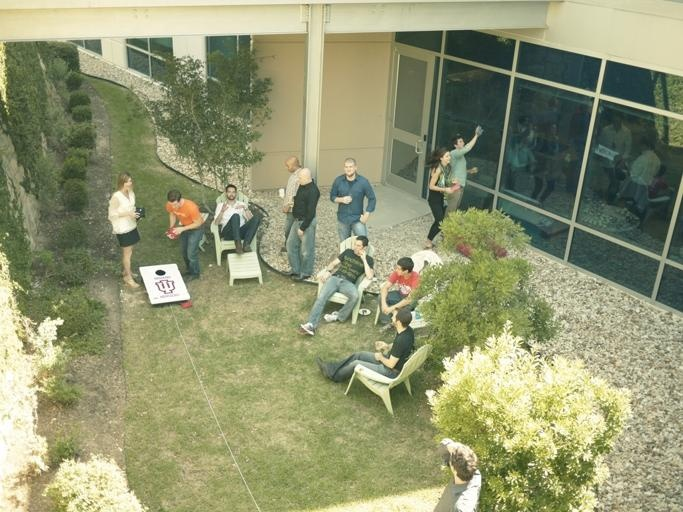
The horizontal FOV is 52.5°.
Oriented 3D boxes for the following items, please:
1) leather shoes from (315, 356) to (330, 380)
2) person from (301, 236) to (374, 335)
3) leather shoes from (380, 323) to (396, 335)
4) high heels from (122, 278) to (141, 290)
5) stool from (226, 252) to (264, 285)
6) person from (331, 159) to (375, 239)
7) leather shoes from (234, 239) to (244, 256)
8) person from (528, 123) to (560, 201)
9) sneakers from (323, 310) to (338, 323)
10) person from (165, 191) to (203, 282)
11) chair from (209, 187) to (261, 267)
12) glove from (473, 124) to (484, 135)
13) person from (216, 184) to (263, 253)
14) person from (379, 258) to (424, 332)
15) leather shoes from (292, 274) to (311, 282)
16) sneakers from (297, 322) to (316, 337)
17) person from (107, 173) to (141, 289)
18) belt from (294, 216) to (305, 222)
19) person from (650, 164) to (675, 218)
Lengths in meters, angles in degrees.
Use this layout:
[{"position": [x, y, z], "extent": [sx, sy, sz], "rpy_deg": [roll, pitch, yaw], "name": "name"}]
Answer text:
[{"position": [-0.287, 1.643, 10.287], "extent": [0.105, 0.358, 0.140], "rpy_deg": [-17, -10, 19], "name": "leather shoes"}, {"position": [-0.110, 0.441, 11.126], "extent": [0.842, 1.163, 1.872], "rpy_deg": [20, 33, 19], "name": "person"}, {"position": [0.745, 1.164, 11.248], "extent": [0.096, 0.132, 0.290], "rpy_deg": [4, 14, 42], "name": "leather shoes"}, {"position": [-3.605, 0.464, 11.820], "extent": [0.272, 0.117, 0.164], "rpy_deg": [22, 47, 24], "name": "high heels"}, {"position": [-1.717, 0.193, 12.287], "extent": [0.603, 0.419, 0.672], "rpy_deg": [-3, 31, -10], "name": "stool"}, {"position": [0.177, -0.938, 12.538], "extent": [0.790, 1.657, 0.776], "rpy_deg": [7, 30, 7], "name": "person"}, {"position": [-1.819, -0.166, 12.223], "extent": [0.092, 0.119, 0.271], "rpy_deg": [-9, 25, -18], "name": "leather shoes"}, {"position": [3.872, -1.772, 13.153], "extent": [0.222, 1.486, 0.650], "rpy_deg": [-14, 34, -27], "name": "person"}, {"position": [-0.176, 0.999, 11.399], "extent": [0.140, 0.106, 0.229], "rpy_deg": [-6, 0, -27], "name": "sneakers"}, {"position": [-2.694, -0.438, 11.971], "extent": [0.596, 1.642, 0.603], "rpy_deg": [-4, 30, -12], "name": "person"}, {"position": [-1.981, -0.483, 12.686], "extent": [0.998, 1.432, 0.998], "rpy_deg": [-10, 45, -14], "name": "chair"}, {"position": [2.775, -2.539, 14.005], "extent": [0.192, 0.193, 0.140], "rpy_deg": [-40, 81, -23], "name": "glove"}, {"position": [-1.931, -0.733, 12.476], "extent": [0.775, 1.114, 1.097], "rpy_deg": [-6, 31, -14], "name": "person"}, {"position": [0.944, 0.625, 10.700], "extent": [0.550, 0.963, 0.440], "rpy_deg": [-39, 75, -20], "name": "person"}, {"position": [-0.761, 0.367, 12.378], "extent": [0.274, 0.122, 0.119], "rpy_deg": [3, 23, -5], "name": "leather shoes"}, {"position": [-0.540, 1.144, 11.059], "extent": [0.317, 0.150, 0.123], "rpy_deg": [23, 8, -28], "name": "sneakers"}, {"position": [-3.607, -0.439, 11.598], "extent": [0.499, 1.837, 0.687], "rpy_deg": [-7, 31, -16], "name": "person"}, {"position": [-0.754, -0.660, 12.094], "extent": [0.118, 0.049, 0.108], "rpy_deg": [17, 27, 34], "name": "belt"}, {"position": [5.413, -1.093, 11.631], "extent": [0.109, 0.827, 0.420], "rpy_deg": [-13, 33, -25], "name": "person"}]
